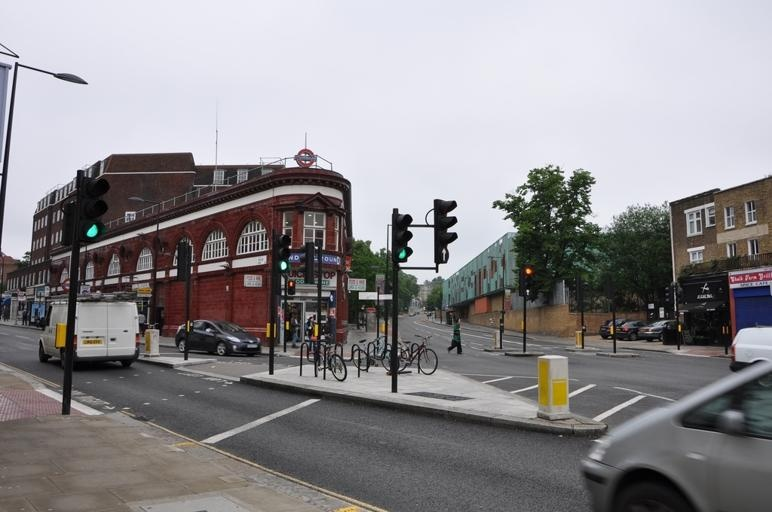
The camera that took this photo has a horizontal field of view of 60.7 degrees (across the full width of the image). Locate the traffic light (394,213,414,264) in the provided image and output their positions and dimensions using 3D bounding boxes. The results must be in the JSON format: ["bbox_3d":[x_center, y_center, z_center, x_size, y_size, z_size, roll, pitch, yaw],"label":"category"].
[{"bbox_3d":[0.425,-0.509,17.053,0.441,1.445,1.032,0,-8,0],"label":"traffic light"}]

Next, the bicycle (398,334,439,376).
[{"bbox_3d":[1.082,3.436,23.494,1.592,1.027,0.698,-4,-5,33],"label":"bicycle"}]

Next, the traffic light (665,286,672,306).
[{"bbox_3d":[16.504,2.171,38.503,0.370,0.942,1.533,-3,-10,26],"label":"traffic light"}]

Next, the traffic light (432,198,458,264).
[{"bbox_3d":[1.524,-0.723,16.885,0.549,1.686,1.043,0,-8,1],"label":"traffic light"}]

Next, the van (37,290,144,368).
[{"bbox_3d":[-11.075,2.671,24.293,2.491,2.390,4.659,4,-4,-40],"label":"van"}]

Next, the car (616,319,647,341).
[{"bbox_3d":[17.851,5.445,48.444,3.101,1.314,1.555,0,-3,-25],"label":"car"}]

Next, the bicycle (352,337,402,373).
[{"bbox_3d":[-0.353,3.493,23.677,2.088,1.367,0.991,-3,13,29],"label":"bicycle"}]

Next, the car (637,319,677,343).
[{"bbox_3d":[18.581,5.084,45.216,1.348,1.467,3.935,0,-9,3],"label":"car"}]

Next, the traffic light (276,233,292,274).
[{"bbox_3d":[-3.244,-0.158,20.979,0.368,1.229,1.038,2,-8,-11],"label":"traffic light"}]

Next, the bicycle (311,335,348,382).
[{"bbox_3d":[-1.982,3.282,21.252,0.538,1.179,2.248,3,-1,-7],"label":"bicycle"}]

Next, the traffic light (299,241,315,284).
[{"bbox_3d":[-2.584,0.152,22.106,0.369,1.422,1.228,1,-8,-9],"label":"traffic light"}]

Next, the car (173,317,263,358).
[{"bbox_3d":[-7.545,3.711,30.183,3.492,1.652,1.478,-3,-9,19],"label":"car"}]
